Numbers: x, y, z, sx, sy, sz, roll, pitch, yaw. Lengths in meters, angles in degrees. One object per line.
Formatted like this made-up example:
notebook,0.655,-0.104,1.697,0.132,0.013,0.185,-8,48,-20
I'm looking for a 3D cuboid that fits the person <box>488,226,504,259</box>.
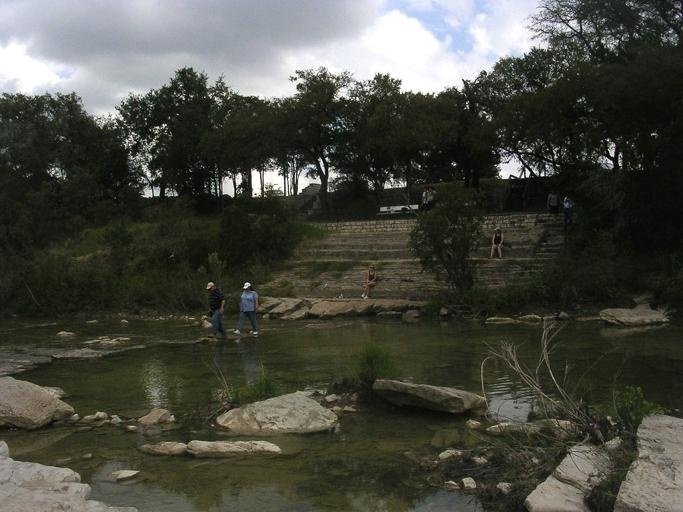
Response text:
person,8.047,-0.808,30.929,0.687,1.469,2.463,0,10,14
